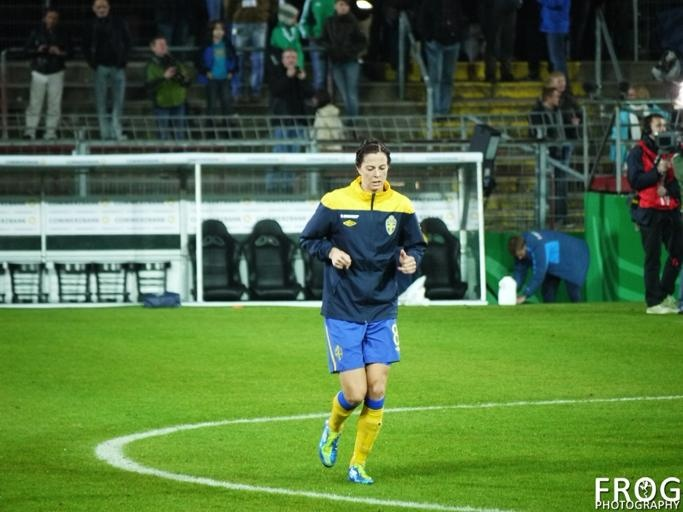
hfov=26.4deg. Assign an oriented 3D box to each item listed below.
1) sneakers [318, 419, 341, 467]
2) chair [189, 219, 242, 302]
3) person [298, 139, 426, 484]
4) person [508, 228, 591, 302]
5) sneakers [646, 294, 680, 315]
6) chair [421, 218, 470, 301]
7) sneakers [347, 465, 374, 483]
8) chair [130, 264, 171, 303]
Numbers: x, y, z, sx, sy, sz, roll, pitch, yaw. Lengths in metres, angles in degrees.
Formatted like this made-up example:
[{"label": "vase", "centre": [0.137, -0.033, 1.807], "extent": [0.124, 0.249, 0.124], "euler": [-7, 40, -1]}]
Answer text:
[{"label": "sneakers", "centre": [-0.133, 2.151, 16.660], "extent": [0.219, 0.301, 0.699], "euler": [4, 31, 3]}, {"label": "chair", "centre": [-2.211, 0.095, 25.682], "extent": [0.915, 1.476, 1.185], "euler": [-1, -2, -3]}, {"label": "person", "centre": [0.195, 0.612, 16.467], "extent": [1.299, 3.782, 0.889], "euler": [-1, 10, -2]}, {"label": "person", "centre": [3.630, 0.230, 25.778], "extent": [1.327, 1.496, 1.156], "euler": [-2, 9, -3]}, {"label": "sneakers", "centre": [5.112, 0.791, 23.243], "extent": [0.349, 0.138, 0.277], "euler": [-8, 11, -22]}, {"label": "chair", "centre": [1.721, 0.166, 25.916], "extent": [0.772, 1.447, 0.907], "euler": [-7, 13, -2]}, {"label": "sneakers", "centre": [0.172, 2.485, 16.425], "extent": [0.127, 0.172, 0.365], "euler": [5, -4, -43]}, {"label": "chair", "centre": [-3.407, 0.381, 26.220], "extent": [0.792, 0.758, 0.833], "euler": [5, 14, 5]}]
